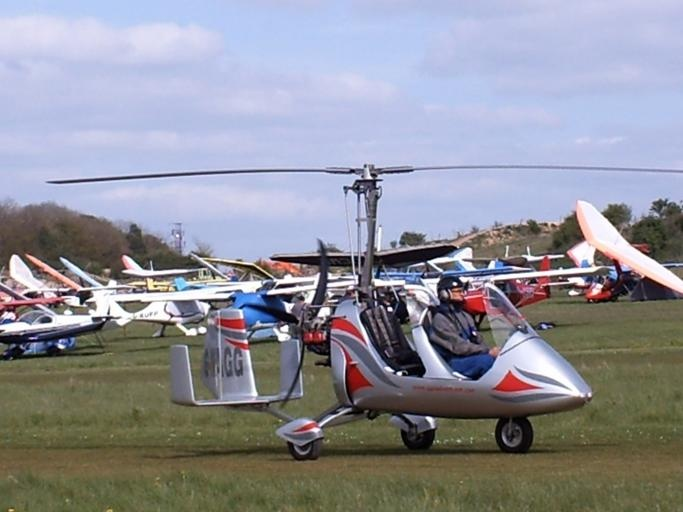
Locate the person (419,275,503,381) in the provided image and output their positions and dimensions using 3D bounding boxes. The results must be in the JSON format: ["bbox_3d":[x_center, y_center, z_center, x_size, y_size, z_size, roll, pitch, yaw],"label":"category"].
[{"bbox_3d":[2.736,1.629,30.039,1.484,2.342,0.783,-2,0,7],"label":"person"}]

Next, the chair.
[{"bbox_3d":[1.276,1.887,30.221,1.328,1.534,1.478,-10,23,-32],"label":"chair"}]
